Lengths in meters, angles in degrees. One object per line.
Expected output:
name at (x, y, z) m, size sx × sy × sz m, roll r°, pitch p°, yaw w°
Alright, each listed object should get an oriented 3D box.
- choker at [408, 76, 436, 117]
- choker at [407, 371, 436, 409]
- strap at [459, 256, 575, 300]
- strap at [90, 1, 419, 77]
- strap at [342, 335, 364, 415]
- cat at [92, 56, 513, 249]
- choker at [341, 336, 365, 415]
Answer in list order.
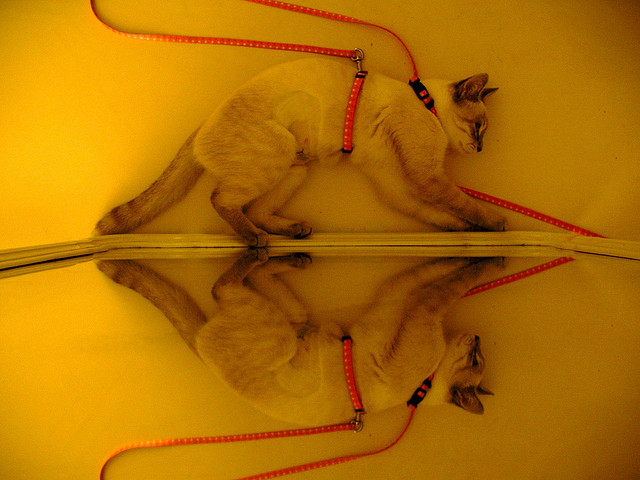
choker at (0.476, -0.683, 3.486) m, size 0.069 × 0.233 × 0.044 m, roll -29°, pitch -6°, yaw 13°
choker at (0.488, 0.662, 3.474) m, size 0.072 × 0.233 × 0.069 m, roll 30°, pitch -26°, yaw 5°
strap at (0.907, 0.170, 3.479) m, size 0.432 × 0.056 × 0.011 m, roll -28°, pitch 5°, yaw -13°
strap at (-0.386, -0.942, 3.482) m, size 1.191 × 0.349 × 0.053 m, roll 10°, pitch -19°, yaw 3°
strap at (0.153, 0.623, 3.386) m, size 0.060 × 0.415 × 0.043 m, roll -6°, pitch 4°, yaw -12°
cat at (0.124, -0.420, 3.399) m, size 1.388 × 0.841 × 0.183 m, roll -4°, pitch 6°, yaw -3°
choker at (0.153, 0.623, 3.386) m, size 0.060 × 0.420 × 0.046 m, roll -7°, pitch 3°, yaw -19°
